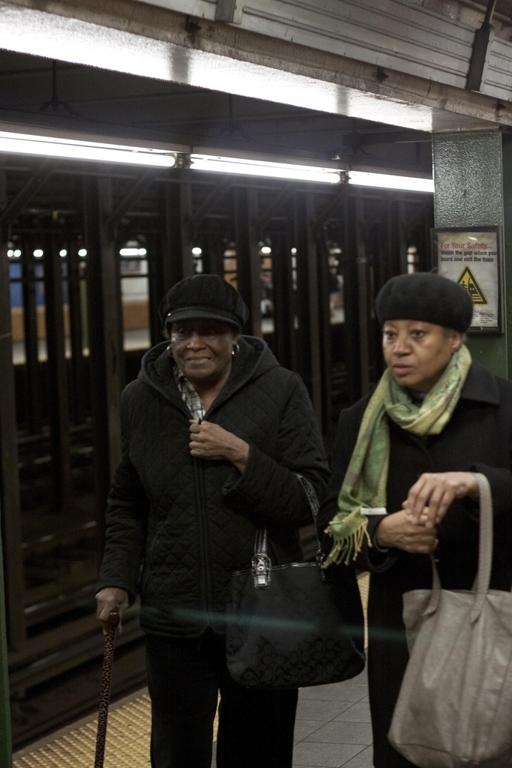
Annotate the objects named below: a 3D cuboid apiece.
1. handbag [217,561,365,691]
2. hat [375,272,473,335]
[{"bbox_3d":[0.077,0.552,1.750,0.365,0.302,0.141,-2,-12,-4],"label":"handbag"},{"bbox_3d":[0.342,-0.187,1.558,0.154,0.081,0.134,13,2,15],"label":"hat"}]
